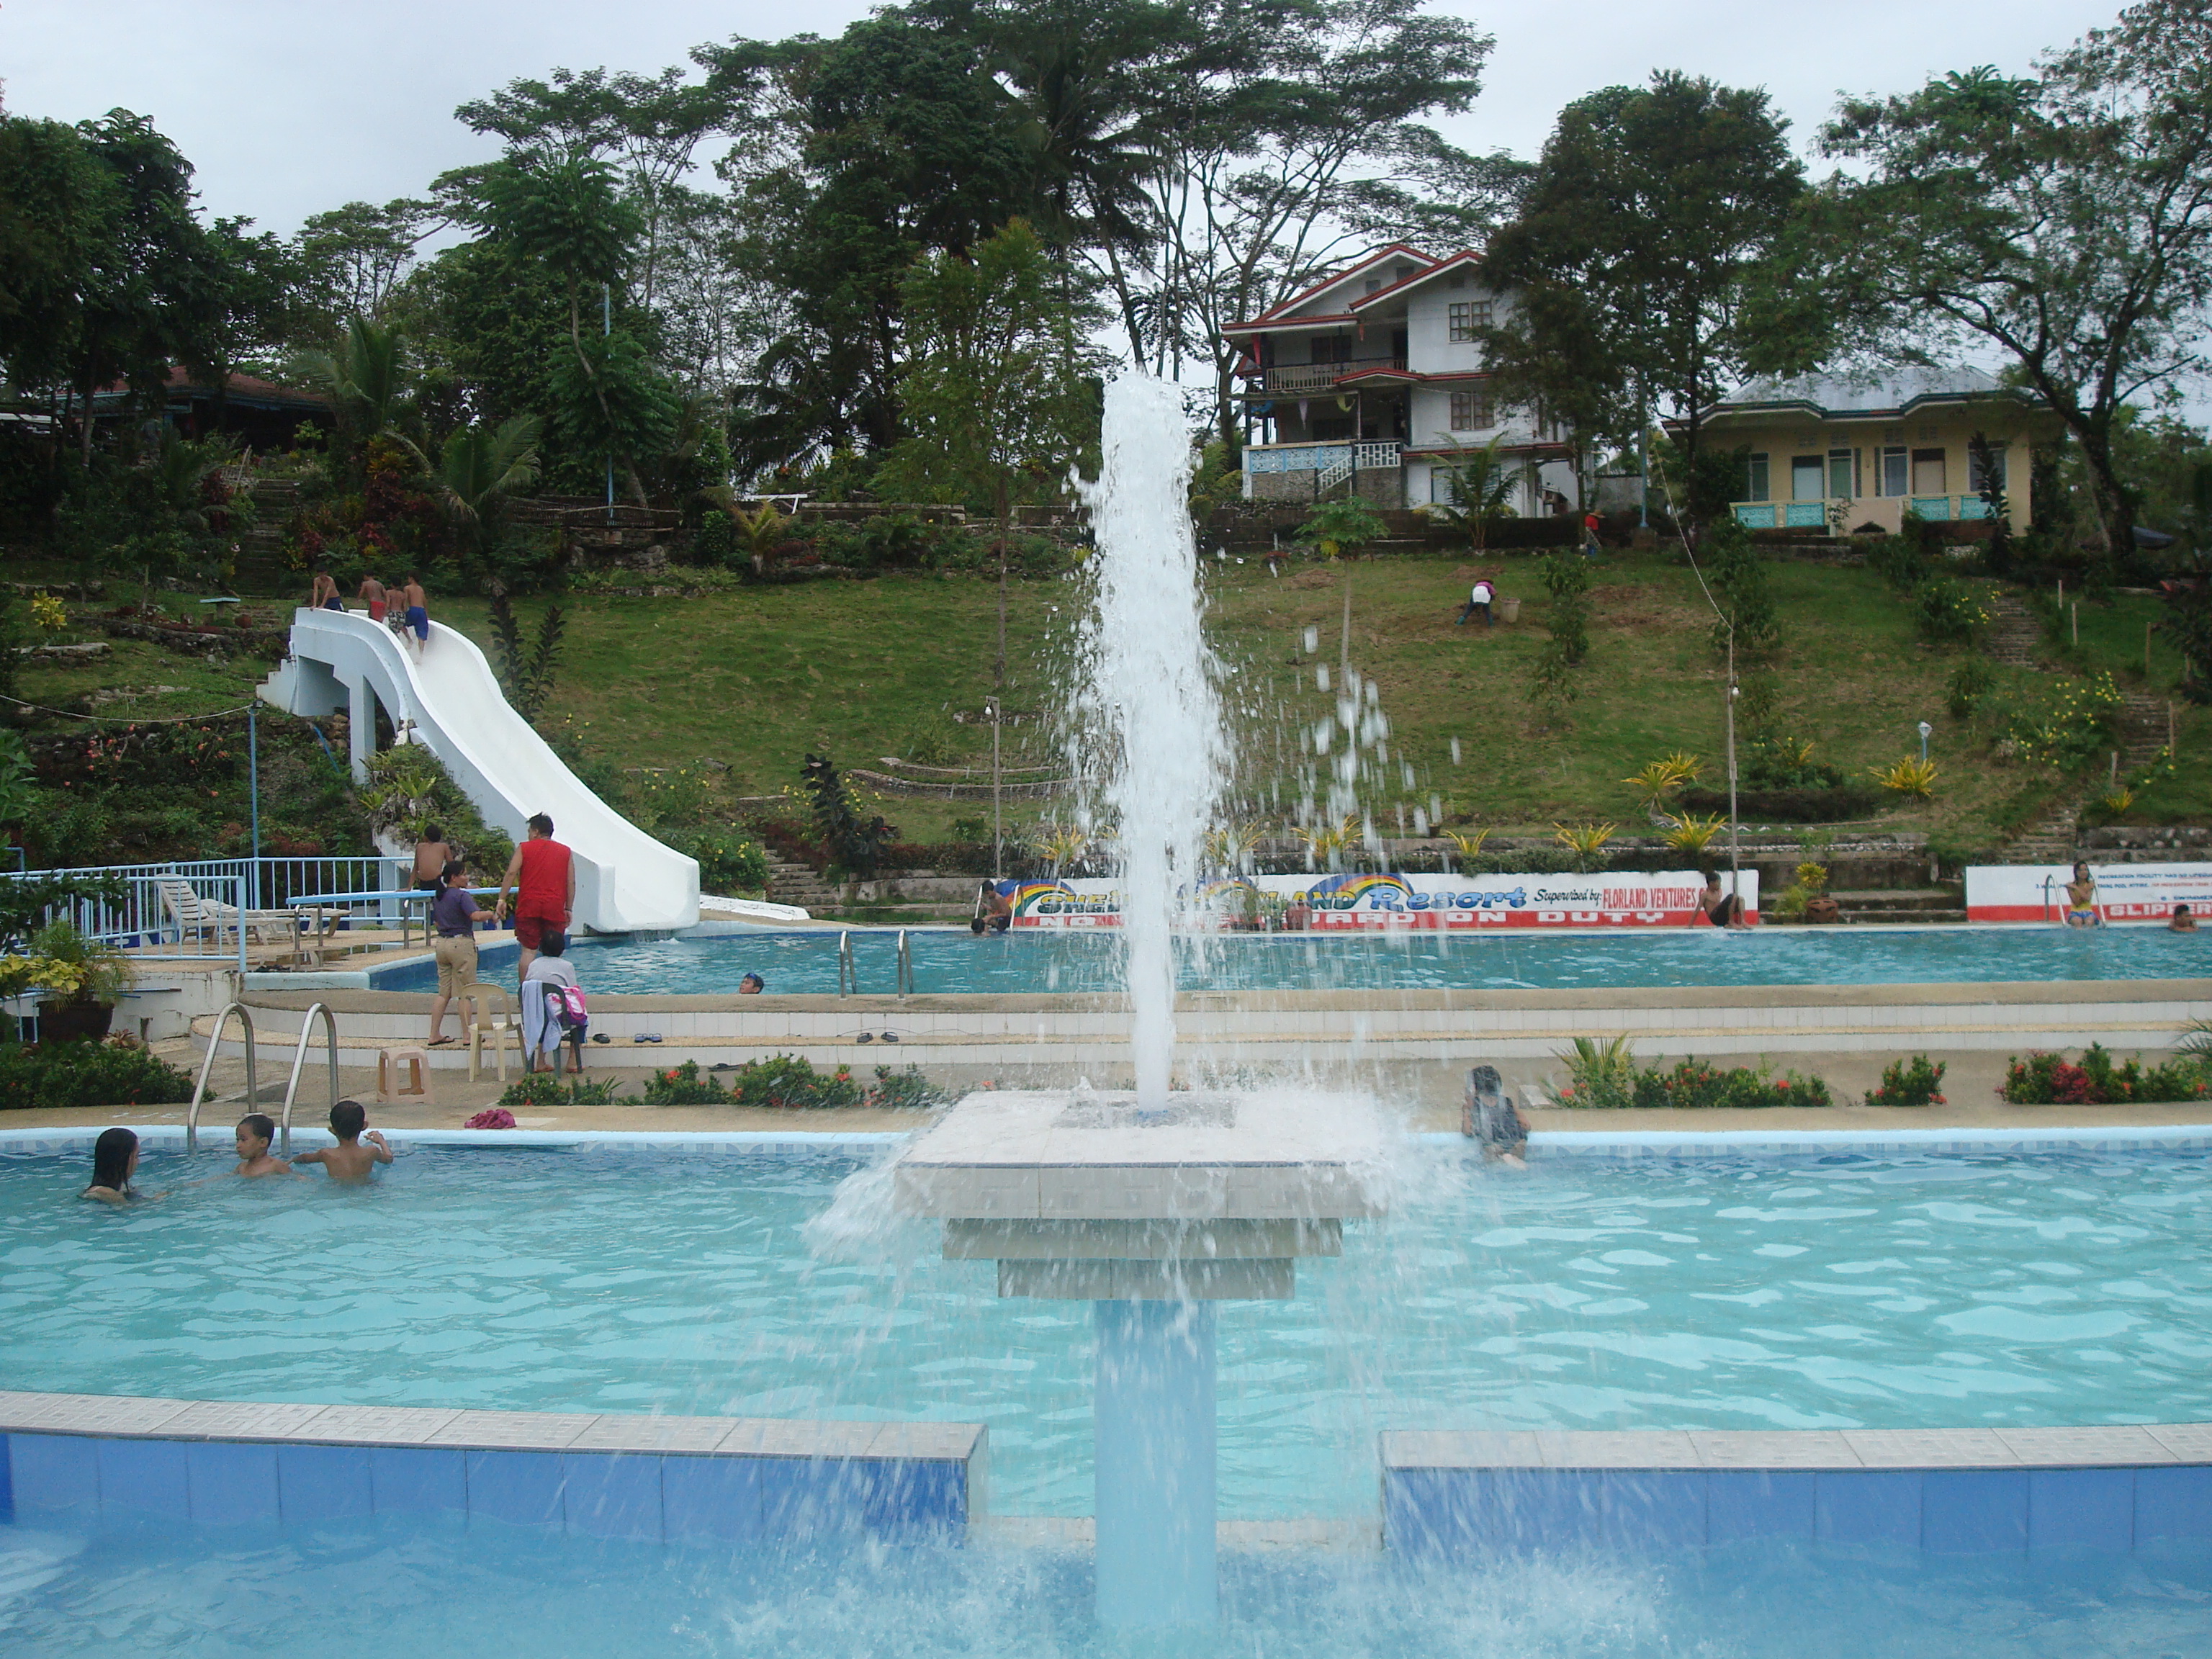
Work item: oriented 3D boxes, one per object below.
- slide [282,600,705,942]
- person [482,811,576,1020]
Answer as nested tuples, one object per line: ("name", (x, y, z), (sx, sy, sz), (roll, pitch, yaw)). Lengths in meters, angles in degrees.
("slide", (-11.039, -0.909, 50.561), (1.893, 2.652, 11.108), (1, 28, -45))
("person", (-7.344, 1.113, 36.817), (0.894, 2.539, 0.804), (4, -6, -29))
